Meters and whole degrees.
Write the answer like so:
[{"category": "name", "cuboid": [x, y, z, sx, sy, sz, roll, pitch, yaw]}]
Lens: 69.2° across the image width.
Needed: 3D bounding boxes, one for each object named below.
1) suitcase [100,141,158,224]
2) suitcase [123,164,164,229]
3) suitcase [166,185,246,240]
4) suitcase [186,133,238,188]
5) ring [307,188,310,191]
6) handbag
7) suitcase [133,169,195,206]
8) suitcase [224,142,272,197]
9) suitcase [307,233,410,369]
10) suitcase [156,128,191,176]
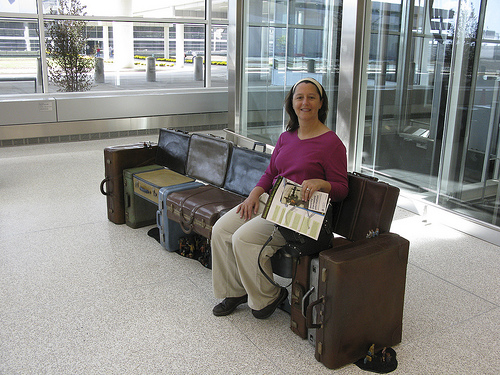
[{"category": "suitcase", "cuboid": [-1.294, -0.029, 3.901, 0.297, 0.862, 0.730, 14, 19, 41]}, {"category": "suitcase", "cuboid": [-1.121, 0.098, 3.744, 0.171, 0.556, 0.552, 10, 16, 31]}, {"category": "suitcase", "cuboid": [-0.400, 0.097, 3.058, 0.487, 0.194, 0.493, 23, 31, 39]}, {"category": "suitcase", "cuboid": [-0.392, -0.246, 3.565, 0.436, 0.418, 0.169, 23, 13, 39]}, {"category": "ring", "cuboid": [0.352, 0.012, 2.180, 0.016, 0.012, 0.012, 0, 1, -20]}, {"category": "handbag", "cuboid": [0.357, 0.343, 2.451, 0.496, 0.572, 0.379, 11, 1, 25]}, {"category": "suitcase", "cuboid": [-0.924, -0.069, 3.643, 0.428, 0.154, 0.404, -8, 21, -41]}, {"category": "suitcase", "cuboid": [-0.045, -0.137, 3.267, 0.495, 0.422, 0.118, 26, 15, 39]}, {"category": "suitcase", "cuboid": [0.614, 0.665, 2.085, 0.627, 0.657, 0.224, -8, 17, -28]}, {"category": "suitcase", "cuboid": [-0.842, -0.371, 3.957, 0.408, 0.407, 0.144, 24, 21, 40]}]
